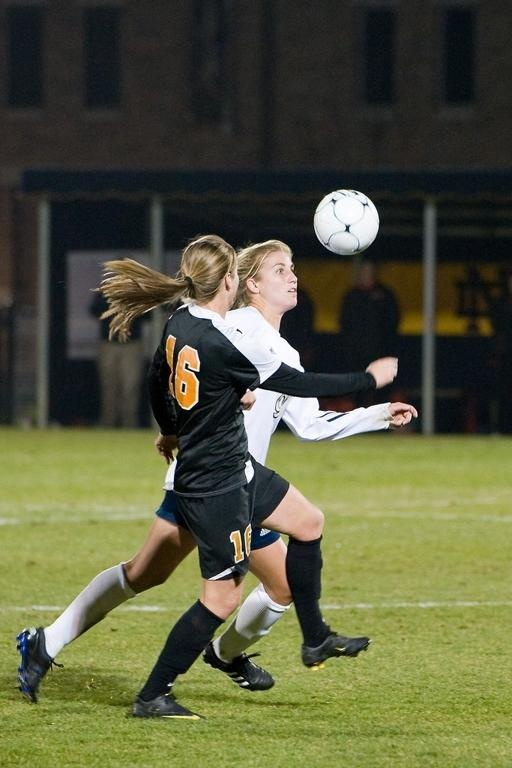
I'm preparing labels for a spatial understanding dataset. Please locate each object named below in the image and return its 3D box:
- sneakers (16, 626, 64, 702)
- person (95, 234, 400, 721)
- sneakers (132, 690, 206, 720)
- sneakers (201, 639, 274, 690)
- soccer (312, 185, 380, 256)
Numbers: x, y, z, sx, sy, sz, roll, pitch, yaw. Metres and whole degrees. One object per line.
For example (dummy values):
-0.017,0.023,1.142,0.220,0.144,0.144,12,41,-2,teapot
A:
-0.693,0.881,3.886,0.153,0.260,0.101,1,-1,9,sneakers
-0.054,0.270,3.890,0.791,1.497,0.542,-1,2,-20,person
-0.277,0.998,3.721,0.245,0.087,0.076,1,-5,-2,sneakers
-0.111,0.967,4.028,0.309,0.101,0.142,24,-24,-1,sneakers
0.403,-0.729,5.383,0.327,0.278,0.303,2,8,5,soccer
